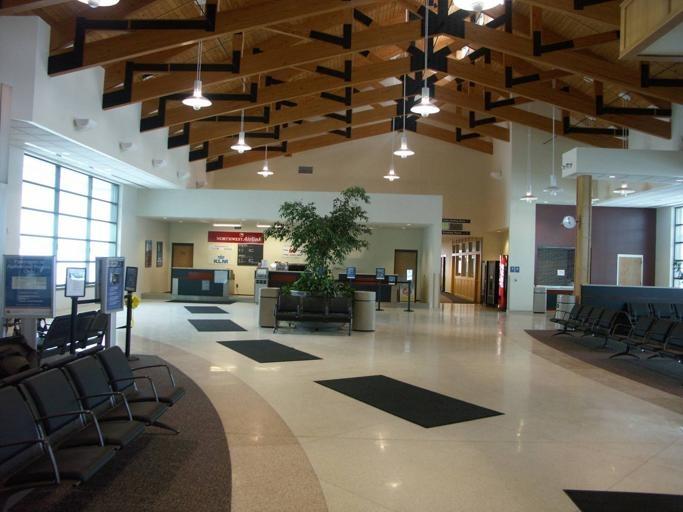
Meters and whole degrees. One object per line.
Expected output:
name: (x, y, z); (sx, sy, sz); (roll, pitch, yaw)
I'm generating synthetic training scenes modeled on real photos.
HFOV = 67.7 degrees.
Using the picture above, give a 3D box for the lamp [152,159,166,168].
lamp: (-5.206, -2.650, 14.480); (0.214, 0.176, 0.257); (-1, -8, -1)

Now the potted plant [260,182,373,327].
potted plant: (-0.639, -0.196, 12.943); (3.161, 3.141, 2.958); (-1, 14, -10)

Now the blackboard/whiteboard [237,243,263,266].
blackboard/whiteboard: (-3.457, -0.099, 19.317); (0.882, 0.715, 0.093); (0, -3, -1)

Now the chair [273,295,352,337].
chair: (-0.626, 1.253, 11.090); (1.663, 0.788, 0.483); (1, 4, 5)

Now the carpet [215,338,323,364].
carpet: (-1.325, 1.687, 9.030); (1.109, 0.087, 2.009); (-2, 5, -36)

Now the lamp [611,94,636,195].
lamp: (7.963, -3.024, 14.189); (0.484, 2.610, 1.890); (3, 5, 29)

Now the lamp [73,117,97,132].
lamp: (-5.329, -2.720, 10.506); (0.329, 0.154, 0.245); (5, 5, 26)

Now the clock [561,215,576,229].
clock: (7.544, -1.117, 16.941); (0.413, 0.468, 0.253); (3, 5, 25)

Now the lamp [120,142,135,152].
lamp: (-5.272, -2.683, 12.475); (0.290, 0.224, 0.180); (1, 4, 3)

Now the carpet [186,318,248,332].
carpet: (-2.879, 1.585, 11.672); (1.026, 0.125, 2.024); (-1, 4, -23)
